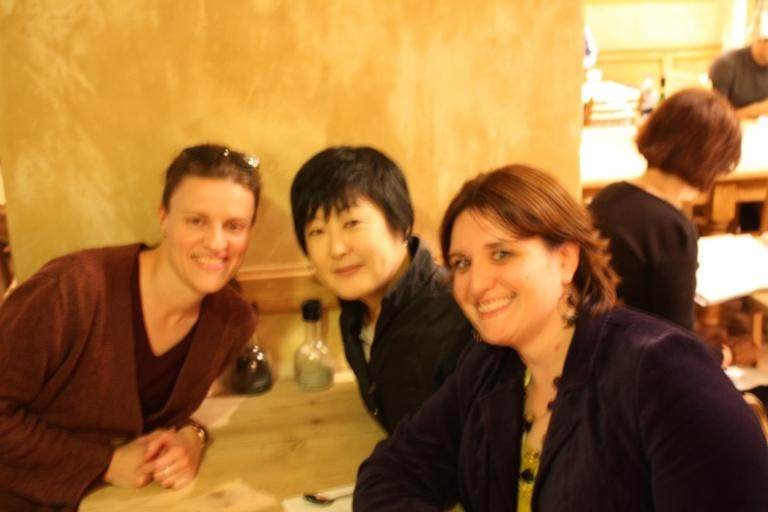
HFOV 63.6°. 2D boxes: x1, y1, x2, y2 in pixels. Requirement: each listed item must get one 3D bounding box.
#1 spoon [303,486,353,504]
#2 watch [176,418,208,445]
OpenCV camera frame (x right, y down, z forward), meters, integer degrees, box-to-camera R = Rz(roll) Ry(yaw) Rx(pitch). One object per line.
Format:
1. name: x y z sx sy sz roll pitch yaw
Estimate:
1. spoon: -0.131 0.583 1.495 0.147 0.037 0.040 4 29 3
2. watch: -0.495 0.461 1.622 0.064 0.022 0.061 34 26 -11
